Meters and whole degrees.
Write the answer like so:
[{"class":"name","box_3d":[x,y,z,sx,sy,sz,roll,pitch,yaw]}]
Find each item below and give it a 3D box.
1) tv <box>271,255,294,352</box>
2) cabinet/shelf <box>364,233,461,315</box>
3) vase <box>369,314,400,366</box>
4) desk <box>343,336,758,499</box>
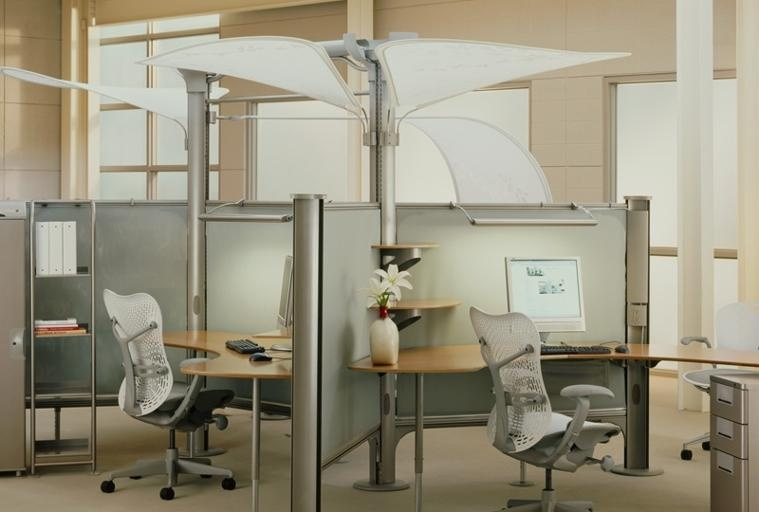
[{"class":"tv","box_3d":[-0.769,0.355,6.314,0.293,0.738,0.732,1,-3,-8]},{"class":"cabinet/shelf","box_3d":[0.268,0.120,6.344,0.618,0.393,0.665,0,2,-7]},{"class":"vase","box_3d":[0.033,0.620,5.911,0.198,0.351,0.107,-2,0,-6]},{"class":"desk","box_3d":[1.716,0.954,6.535,2.064,0.739,1.666,1,-4,-32]}]
